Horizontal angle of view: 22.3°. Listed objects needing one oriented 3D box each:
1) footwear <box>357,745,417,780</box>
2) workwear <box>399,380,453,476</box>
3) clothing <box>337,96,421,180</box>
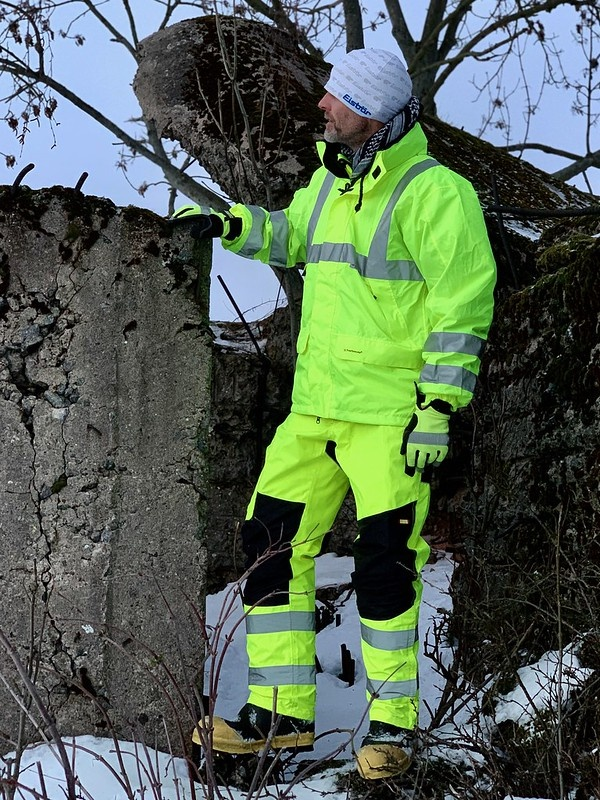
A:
[{"bbox_3d":[0.257,1.127,4.699,0.172,0.111,0.133,2,-20,3],"label":"footwear"},{"bbox_3d":[0.390,0.114,4.705,0.164,0.232,0.077,13,6,31],"label":"workwear"},{"bbox_3d":[0.277,-0.844,4.889,0.276,0.113,0.206,-38,-12,-6],"label":"clothing"}]
